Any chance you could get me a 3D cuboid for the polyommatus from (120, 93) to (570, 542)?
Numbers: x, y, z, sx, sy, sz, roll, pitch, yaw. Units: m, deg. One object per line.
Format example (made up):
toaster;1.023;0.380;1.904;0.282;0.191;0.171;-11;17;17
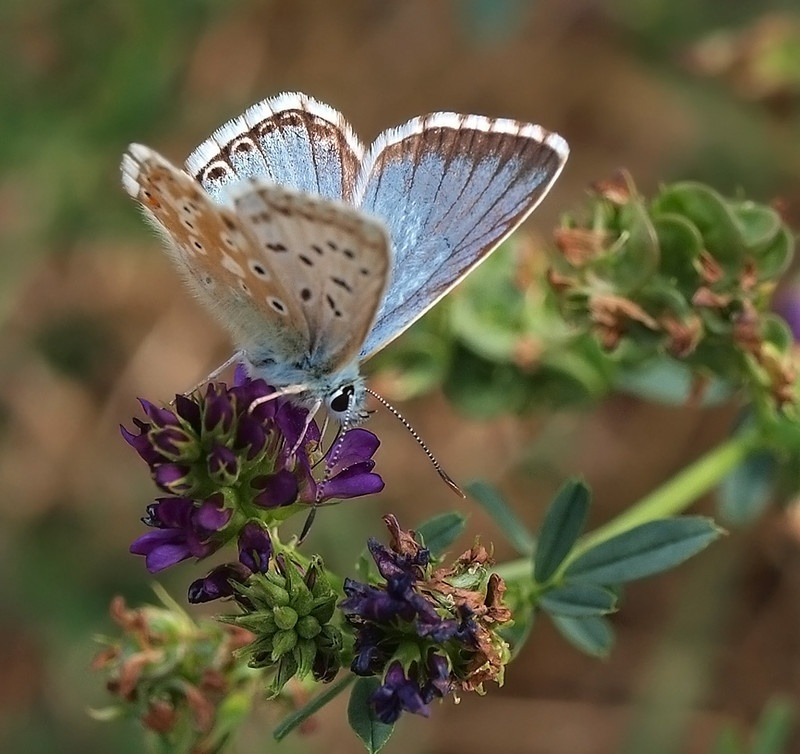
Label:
polyommatus;-0.136;-0.359;4.792;2.236;1.749;1.540;-12;26;-15
